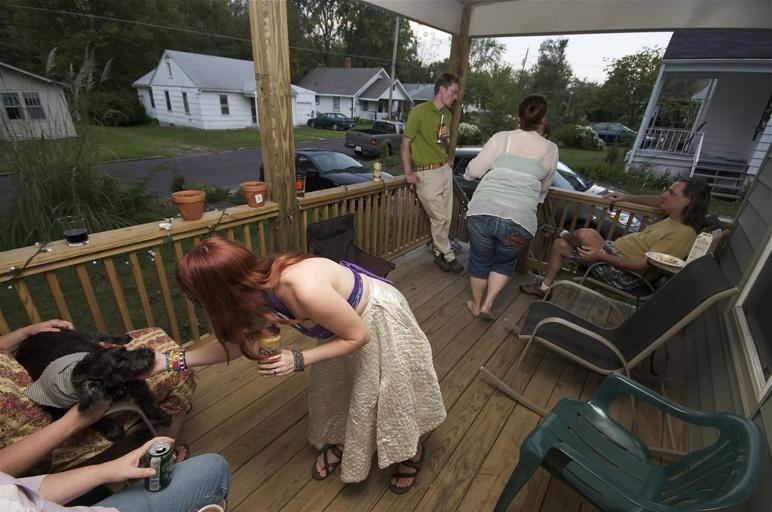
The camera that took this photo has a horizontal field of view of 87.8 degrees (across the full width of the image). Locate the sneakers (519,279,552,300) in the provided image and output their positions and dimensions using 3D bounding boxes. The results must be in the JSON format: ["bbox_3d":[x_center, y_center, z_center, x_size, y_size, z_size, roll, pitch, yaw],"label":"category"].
[{"bbox_3d":[1.794,0.360,4.674,0.405,0.185,0.147,18,32,29],"label":"sneakers"}]

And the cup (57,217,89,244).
[{"bbox_3d":[-2.319,-0.207,2.978,0.146,0.198,0.193,-16,31,-37],"label":"cup"}]

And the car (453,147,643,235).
[{"bbox_3d":[2.460,-1.004,6.533,3.242,1.302,1.500,7,33,9],"label":"car"}]

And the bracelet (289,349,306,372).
[{"bbox_3d":[-0.537,0.641,2.460,0.123,0.135,0.070,-10,-11,37],"label":"bracelet"}]

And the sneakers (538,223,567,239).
[{"bbox_3d":[1.988,-0.290,4.794,0.256,0.199,0.111,41,42,0],"label":"sneakers"}]

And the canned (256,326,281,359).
[{"bbox_3d":[-0.719,0.526,2.456,0.136,0.162,0.114,-9,28,-27],"label":"canned"}]

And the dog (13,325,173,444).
[{"bbox_3d":[-1.901,0.677,2.549,0.638,0.412,0.922,-5,39,-50],"label":"dog"}]

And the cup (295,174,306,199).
[{"bbox_3d":[-0.829,-0.679,3.903,0.048,0.228,0.115,16,27,25],"label":"cup"}]

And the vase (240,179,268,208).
[{"bbox_3d":[-1.201,-0.578,3.674,0.215,0.208,0.178,-4,26,-17],"label":"vase"}]

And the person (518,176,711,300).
[{"bbox_3d":[2.402,-0.156,4.284,1.168,1.500,0.834,30,44,26],"label":"person"}]

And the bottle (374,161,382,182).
[{"bbox_3d":[-0.092,-0.989,4.679,0.076,0.183,0.214,1,25,-6],"label":"bottle"}]

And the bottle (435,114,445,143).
[{"bbox_3d":[0.660,-1.506,4.728,0.066,0.313,0.121,12,26,18],"label":"bottle"}]

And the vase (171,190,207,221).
[{"bbox_3d":[-1.668,-0.459,3.400,0.254,0.214,0.262,12,22,29],"label":"vase"}]

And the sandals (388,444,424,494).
[{"bbox_3d":[0.150,1.594,2.960,0.129,0.098,0.361,11,32,23],"label":"sandals"}]

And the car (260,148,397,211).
[{"bbox_3d":[-0.621,-1.521,7.560,2.891,1.024,1.369,13,24,34],"label":"car"}]

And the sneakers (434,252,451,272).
[{"bbox_3d":[0.701,0.045,5.165,0.107,0.125,0.309,-27,43,-12],"label":"sneakers"}]
